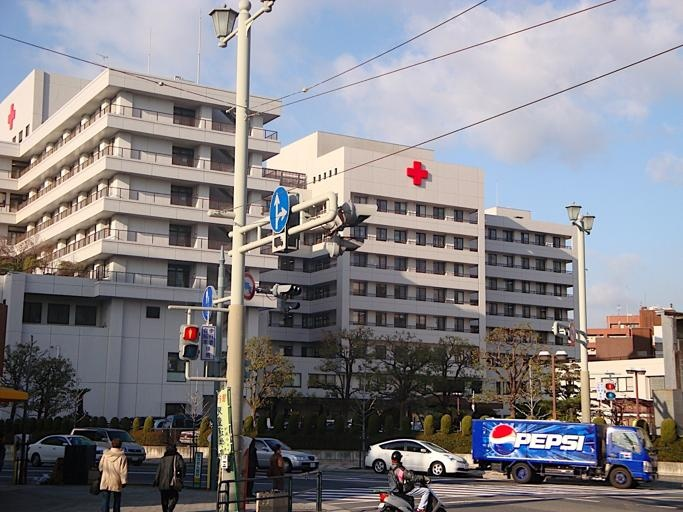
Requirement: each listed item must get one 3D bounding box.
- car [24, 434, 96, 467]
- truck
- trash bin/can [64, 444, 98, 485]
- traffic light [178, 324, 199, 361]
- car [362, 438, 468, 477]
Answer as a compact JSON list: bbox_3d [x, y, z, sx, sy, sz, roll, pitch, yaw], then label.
[{"bbox_3d":[-17.070,12.132,60.497,5.128,1.952,2.343,-5,-14,28],"label":"car"},{"bbox_3d":[12.006,10.676,53.714,9.199,3.610,3.030,0,0,19],"label":"truck"},{"bbox_3d":[-13.804,10.757,50.215,1.218,1.997,1.221,-2,-12,-4],"label":"trash bin/can"},{"bbox_3d":[-6.241,3.476,39.997,0.719,1.533,0.973,2,-15,-5],"label":"traffic light"},{"bbox_3d":[4.317,11.858,57.557,5.771,2.064,2.661,-4,-13,20],"label":"car"}]
